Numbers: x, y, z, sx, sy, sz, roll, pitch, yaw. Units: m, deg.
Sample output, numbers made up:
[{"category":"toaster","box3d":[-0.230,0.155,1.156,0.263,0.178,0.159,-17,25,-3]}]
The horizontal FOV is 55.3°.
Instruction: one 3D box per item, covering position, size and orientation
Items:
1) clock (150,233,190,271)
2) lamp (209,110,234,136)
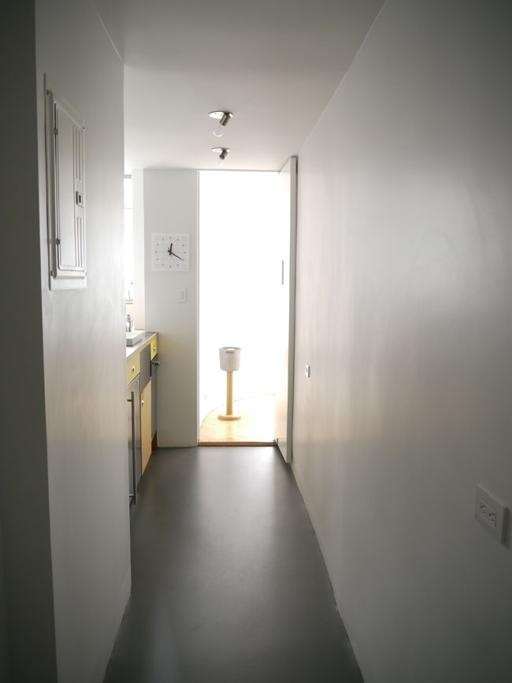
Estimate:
[{"category":"clock","box3d":[-0.766,-0.802,4.304,0.197,0.327,0.027,0,2,-6]},{"category":"lamp","box3d":[-0.185,-1.234,2.713,0.083,0.133,0.094,4,0,35]}]
